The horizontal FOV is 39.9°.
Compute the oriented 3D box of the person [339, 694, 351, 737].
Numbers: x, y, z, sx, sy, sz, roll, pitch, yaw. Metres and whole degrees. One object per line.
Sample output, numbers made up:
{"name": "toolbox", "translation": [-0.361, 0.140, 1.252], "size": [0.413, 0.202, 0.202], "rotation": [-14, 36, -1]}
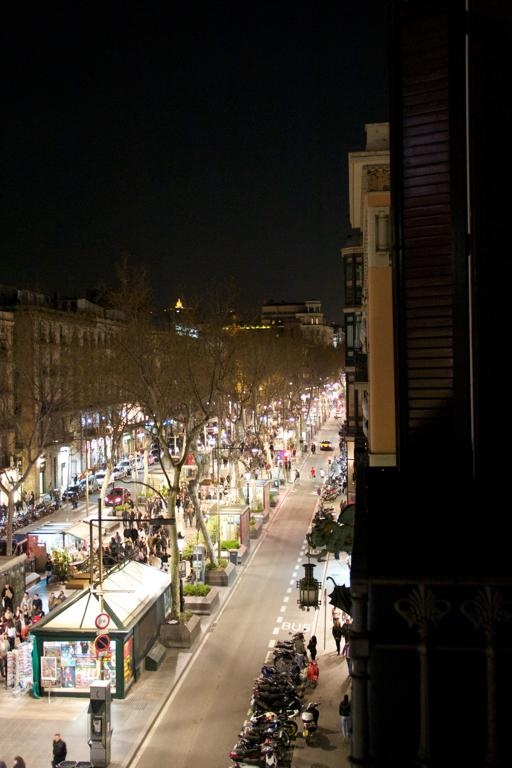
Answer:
{"name": "person", "translation": [1.968, 7.493, 15.643], "size": [0.187, 0.845, 1.250], "rotation": [-2, -1, 9]}

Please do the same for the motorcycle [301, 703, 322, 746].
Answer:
{"name": "motorcycle", "translation": [1.245, 7.703, 16.108], "size": [0.275, 0.504, 0.676], "rotation": [2, 2, 10]}

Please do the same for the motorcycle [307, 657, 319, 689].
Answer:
{"name": "motorcycle", "translation": [1.557, 7.844, 19.276], "size": [0.228, 0.438, 0.641], "rotation": [2, 5, 3]}

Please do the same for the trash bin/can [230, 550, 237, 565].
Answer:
{"name": "trash bin/can", "translation": [-1.052, 8.396, 34.300], "size": [0.501, 0.629, 0.362], "rotation": [-3, -1, -23]}
